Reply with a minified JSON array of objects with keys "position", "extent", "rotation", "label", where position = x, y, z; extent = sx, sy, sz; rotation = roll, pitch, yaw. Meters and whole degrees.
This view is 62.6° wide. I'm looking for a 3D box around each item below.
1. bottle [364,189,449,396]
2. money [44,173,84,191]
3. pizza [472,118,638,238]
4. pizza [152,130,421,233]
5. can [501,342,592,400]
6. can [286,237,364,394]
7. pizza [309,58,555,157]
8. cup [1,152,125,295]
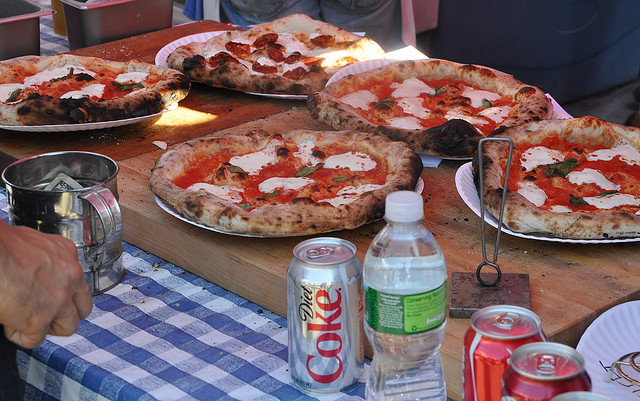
[{"position":[0.197,0.238,1.158],"extent":[0.204,0.579,0.240],"rotation":[-1,28,5],"label":"bottle"},{"position":[-0.734,-0.052,1.489],"extent":[0.064,0.009,0.060],"rotation":[14,54,8],"label":"money"},{"position":[0.812,-0.076,1.781],"extent":[0.557,0.105,0.528],"rotation":[-14,36,-15],"label":"pizza"},{"position":[-0.093,-0.078,1.832],"extent":[0.577,0.081,0.491],"rotation":[-10,31,-17],"label":"pizza"},{"position":[0.378,0.291,0.891],"extent":[0.082,0.128,0.079],"rotation":[-6,24,2],"label":"can"},{"position":[0.011,0.268,1.203],"extent":[0.177,0.361,0.133],"rotation":[-1,28,5],"label":"can"},{"position":[0.501,-0.426,2.355],"extent":[0.802,0.151,0.715],"rotation":[9,28,15],"label":"pizza"},{"position":[-0.717,0.014,1.603],"extent":[0.312,0.339,0.469],"rotation":[-20,37,-37],"label":"cup"}]
